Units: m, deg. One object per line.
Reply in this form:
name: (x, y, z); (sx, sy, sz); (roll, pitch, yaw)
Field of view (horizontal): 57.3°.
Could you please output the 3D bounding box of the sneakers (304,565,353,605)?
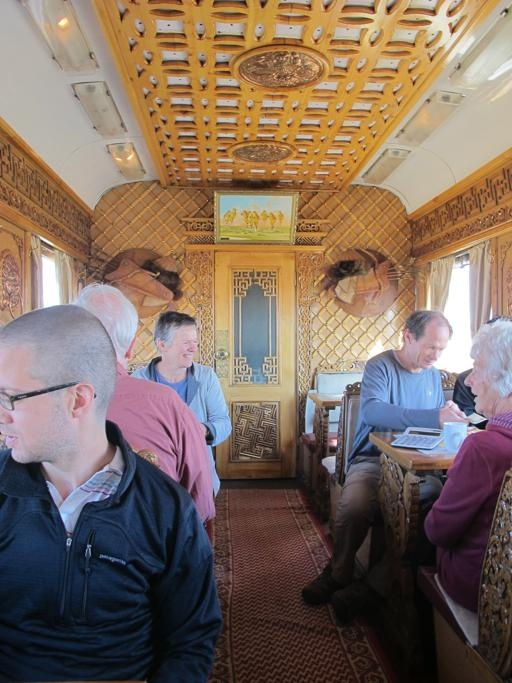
sneakers: (0.377, 1.187, 2.331); (0.102, 0.138, 0.306); (3, 2, 43)
